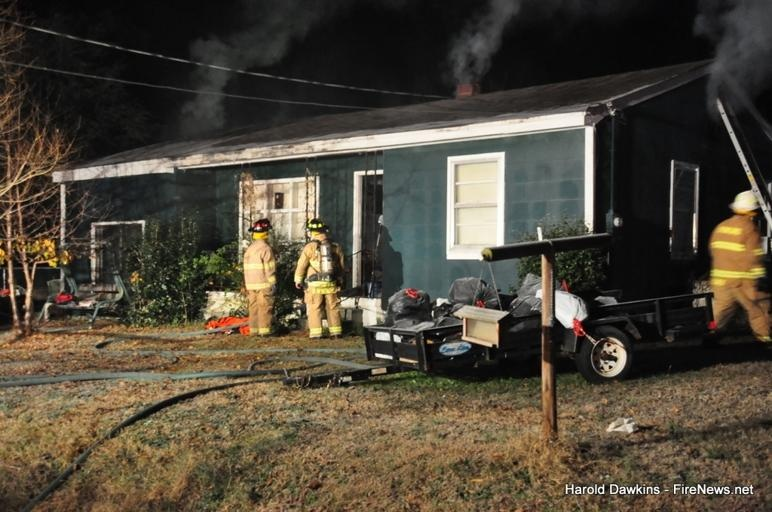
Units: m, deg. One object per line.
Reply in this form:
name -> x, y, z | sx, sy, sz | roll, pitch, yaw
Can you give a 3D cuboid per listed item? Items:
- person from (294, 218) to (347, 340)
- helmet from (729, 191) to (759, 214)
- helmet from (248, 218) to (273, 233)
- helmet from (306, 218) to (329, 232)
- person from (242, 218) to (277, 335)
person -> -1.241, 0.421, 13.376 | 0.833, 2.156, 0.744 | -2, 11, 2
helmet -> 5.791, -0.875, 11.516 | 0.413, 0.258, 0.334 | -13, 15, -25
helmet -> -2.492, -0.575, 13.928 | 0.398, 0.150, 0.298 | -3, 2, 40
helmet -> -1.268, -0.581, 13.499 | 0.333, 0.144, 0.251 | -8, 8, -16
person -> -2.411, 0.415, 13.826 | 0.625, 2.174, 0.657 | -4, 11, -12
